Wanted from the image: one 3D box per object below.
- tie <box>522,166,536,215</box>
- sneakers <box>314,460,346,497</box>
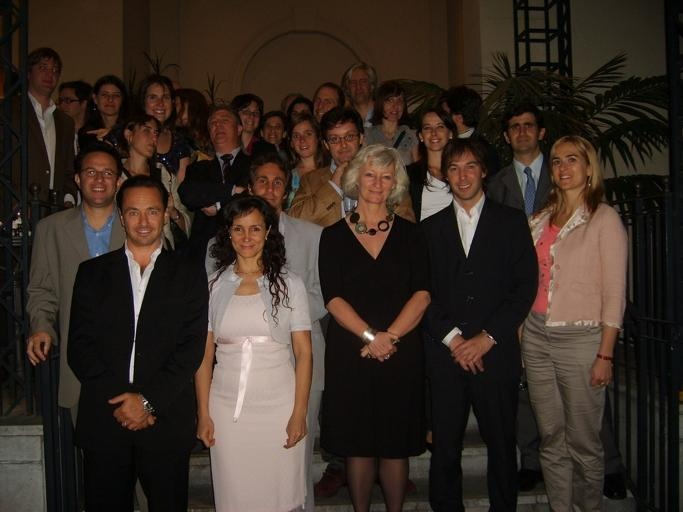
[{"bbox_3d":[1.623,-0.558,5.585,0.087,0.544,0.074,-3,-13,14],"label":"tie"},{"bbox_3d":[-0.075,1.823,5.279,0.376,0.186,0.139,-25,2,-38],"label":"sneakers"}]
